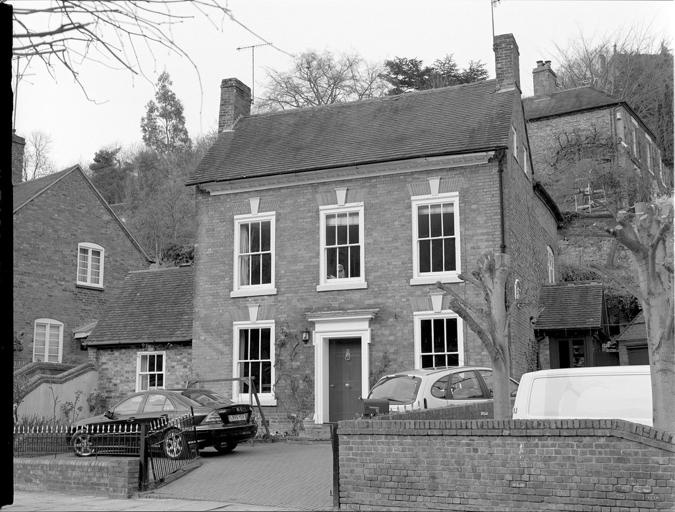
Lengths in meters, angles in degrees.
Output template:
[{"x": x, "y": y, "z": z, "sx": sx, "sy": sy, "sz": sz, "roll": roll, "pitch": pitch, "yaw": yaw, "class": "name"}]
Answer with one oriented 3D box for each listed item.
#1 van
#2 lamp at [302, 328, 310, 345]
[{"x": 2.550, "y": 3.437, "z": 30.755, "sx": 2.956, "sy": 1.494, "sz": 1.749, "roll": -2, "pitch": -2, "yaw": -34, "class": "van"}, {"x": -0.992, "y": 2.457, "z": 36.502, "sx": 0.297, "sy": 0.476, "sz": 0.142, "roll": -2, "pitch": -7, "yaw": 6, "class": "lamp"}]
